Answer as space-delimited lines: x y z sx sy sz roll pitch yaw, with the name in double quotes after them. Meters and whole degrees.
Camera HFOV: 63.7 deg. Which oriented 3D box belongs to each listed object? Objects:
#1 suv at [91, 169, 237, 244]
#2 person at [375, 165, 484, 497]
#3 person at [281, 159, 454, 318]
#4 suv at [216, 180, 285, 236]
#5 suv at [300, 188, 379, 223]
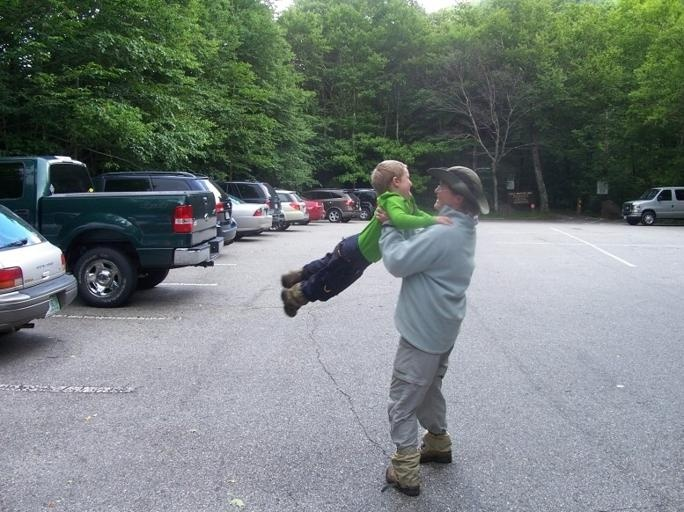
-4.514 -1.247 13.920 3.872 1.509 1.886 3 4 11 "suv"
0.571 0.474 3.812 0.739 2.155 0.420 -7 10 -40 "person"
0.210 -0.051 4.707 0.638 1.613 0.530 24 29 -34 "person"
-3.620 -2.160 21.048 2.536 1.150 1.315 3 6 11 "suv"
-0.155 -2.961 32.146 4.435 1.400 1.896 3 4 9 "suv"
